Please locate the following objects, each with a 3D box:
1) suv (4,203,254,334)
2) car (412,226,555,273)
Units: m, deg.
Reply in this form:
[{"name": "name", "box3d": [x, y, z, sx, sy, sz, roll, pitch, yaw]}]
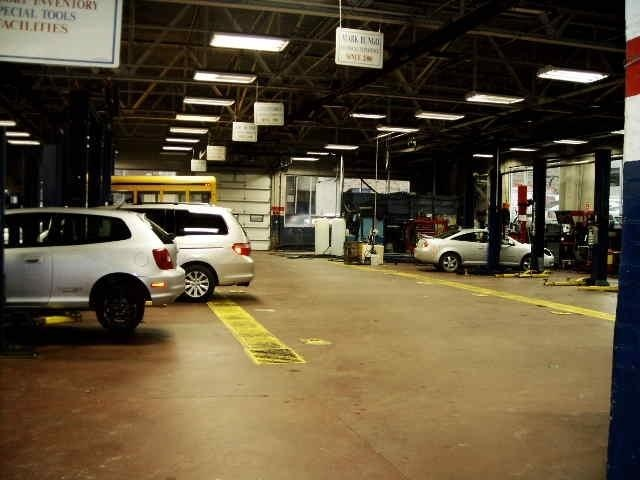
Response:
[{"name": "suv", "box3d": [-3.509, 0.375, 9.423, 2.976, 1.398, 1.566, 4, -1, -6]}, {"name": "car", "box3d": [6.454, 0.434, 23.098, 4.802, 1.788, 1.447, 1, 2, -12]}]
